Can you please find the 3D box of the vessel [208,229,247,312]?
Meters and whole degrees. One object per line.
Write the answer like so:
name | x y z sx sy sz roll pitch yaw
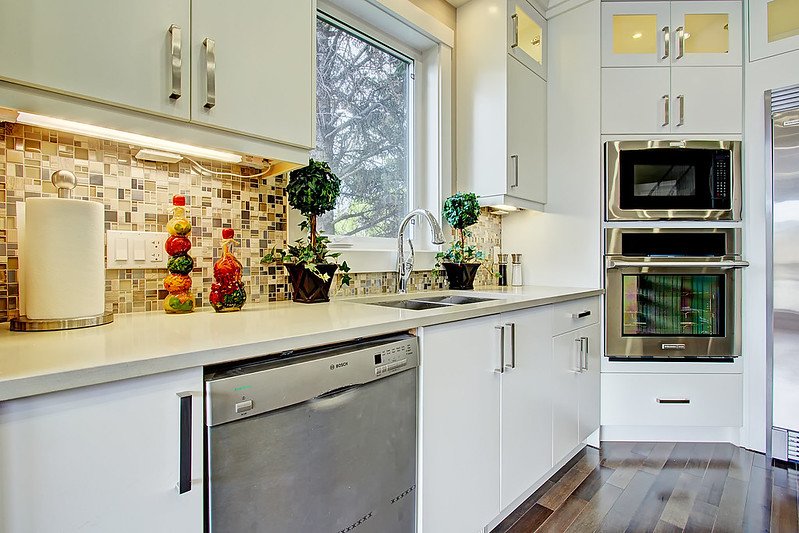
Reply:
vessel | -0.775 0.022 2.463 0.207 0.377 0.206 1 -5 -36

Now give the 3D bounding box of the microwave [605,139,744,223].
microwave | 1.741 -0.535 3.469 0.793 0.538 0.510 0 -2 0

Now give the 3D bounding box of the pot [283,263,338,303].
pot | -0.437 0.087 2.688 0.280 0.189 0.272 0 -6 0

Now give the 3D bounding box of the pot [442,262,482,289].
pot | 0.360 0.051 3.309 0.168 0.145 0.193 0 -1 44

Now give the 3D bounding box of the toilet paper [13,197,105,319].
toilet paper | -1.354 -0.052 2.220 0.301 0.539 0.298 1 5 -31

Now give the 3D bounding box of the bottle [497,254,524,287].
bottle | 0.766 0.032 3.771 0.110 0.264 0.209 2 -2 -44

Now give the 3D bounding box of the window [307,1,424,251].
window | -0.222 -0.934 3.228 0.054 0.999 0.727 5 12 42
